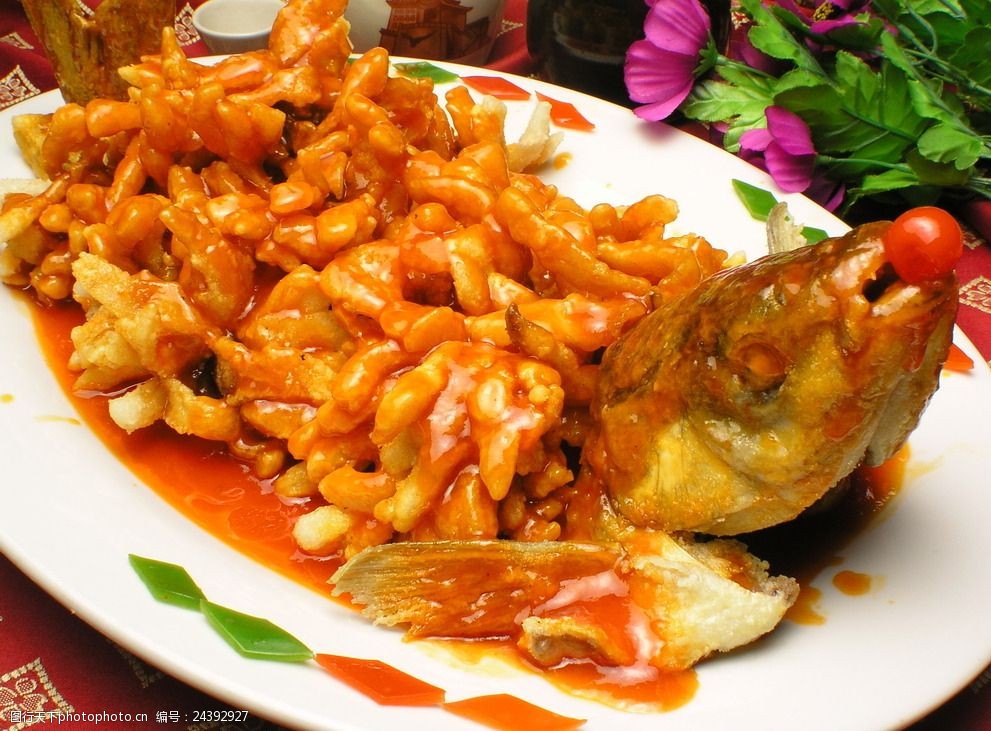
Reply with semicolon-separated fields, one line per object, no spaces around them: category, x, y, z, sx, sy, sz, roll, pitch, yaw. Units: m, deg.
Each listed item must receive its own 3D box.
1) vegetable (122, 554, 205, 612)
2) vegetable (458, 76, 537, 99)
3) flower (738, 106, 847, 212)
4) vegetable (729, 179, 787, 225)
vegetable;-0.537;0.355;1.742;0.134;0.030;0.071;38;43;22
vegetable;0.006;-0.687;2.650;0.170;0.031;0.080;21;40;9
flower;0.694;-0.475;2.480;0.259;0.245;0.097;30;94;14
vegetable;0.582;-0.373;2.398;0.110;0.028;0.136;-19;44;-30
